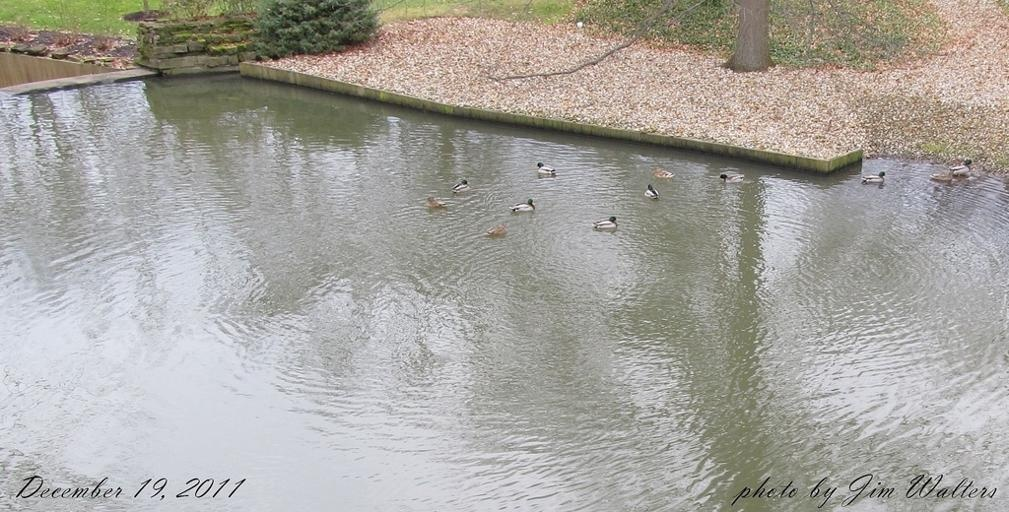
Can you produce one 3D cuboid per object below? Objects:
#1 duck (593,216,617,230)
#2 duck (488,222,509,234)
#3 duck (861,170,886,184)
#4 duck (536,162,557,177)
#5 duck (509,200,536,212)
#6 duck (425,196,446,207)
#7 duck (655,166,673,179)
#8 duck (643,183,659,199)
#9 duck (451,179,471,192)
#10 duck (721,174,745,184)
[{"bbox_3d":[2.989,-0.935,25.356,0.754,0.325,0.347,-3,20,-7],"label":"duck"},{"bbox_3d":[-0.030,-0.758,25.335,0.739,0.230,0.204,-13,14,-27],"label":"duck"},{"bbox_3d":[11.676,-2.464,27.584,0.892,0.436,0.355,1,35,0],"label":"duck"},{"bbox_3d":[1.391,-2.776,28.374,0.374,0.343,0.755,-16,25,-32],"label":"duck"},{"bbox_3d":[0.608,-1.475,26.228,0.747,0.349,0.324,0,28,-8],"label":"duck"},{"bbox_3d":[-2.001,-1.655,26.489,0.571,0.257,0.512,5,38,-6],"label":"duck"},{"bbox_3d":[5.150,-2.611,28.014,0.616,0.334,0.316,19,55,40],"label":"duck"},{"bbox_3d":[4.577,-1.952,26.859,0.389,0.332,0.537,-5,35,7],"label":"duck"},{"bbox_3d":[-1.246,-2.171,27.344,0.276,0.256,0.767,16,26,29],"label":"duck"},{"bbox_3d":[7.257,-2.413,27.576,0.822,0.255,0.281,12,47,46],"label":"duck"}]
